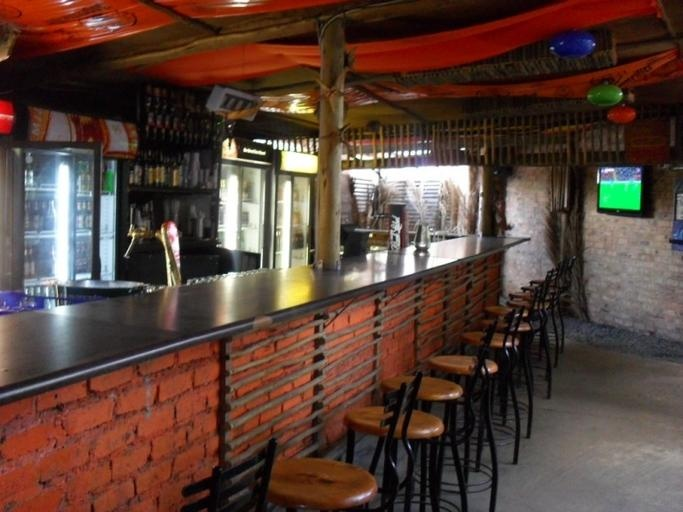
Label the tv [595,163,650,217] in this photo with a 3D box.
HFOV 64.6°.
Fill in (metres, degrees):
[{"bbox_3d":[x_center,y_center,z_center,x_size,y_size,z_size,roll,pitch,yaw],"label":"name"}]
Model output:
[{"bbox_3d":[4.260,-1.003,7.957,0.484,0.823,0.848,-5,9,-15],"label":"tv"}]
